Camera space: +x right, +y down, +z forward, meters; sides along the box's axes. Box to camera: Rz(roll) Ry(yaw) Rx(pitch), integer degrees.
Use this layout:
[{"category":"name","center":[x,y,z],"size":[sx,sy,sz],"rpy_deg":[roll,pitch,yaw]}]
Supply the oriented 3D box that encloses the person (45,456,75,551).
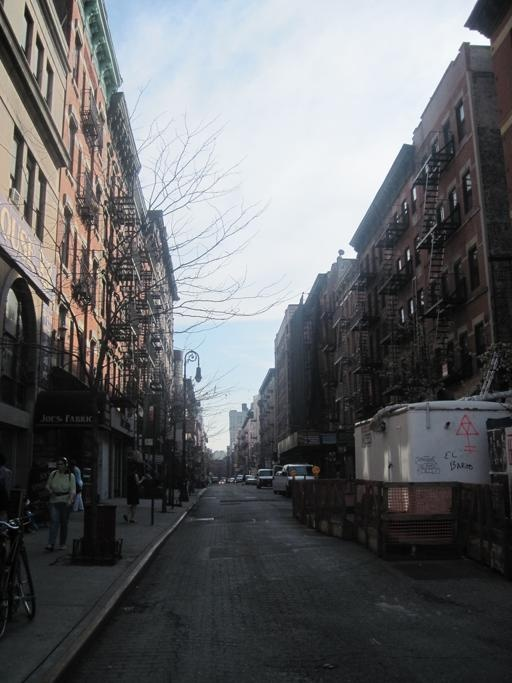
[{"category":"person","center":[-3.874,3.189,11.262],"size":[0.534,1.792,0.840],"rpy_deg":[6,-14,-33]}]

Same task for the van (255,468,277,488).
[{"category":"van","center":[1.011,16.322,66.494],"size":[1.610,2.290,3.376],"rpy_deg":[1,-3,-3]}]
